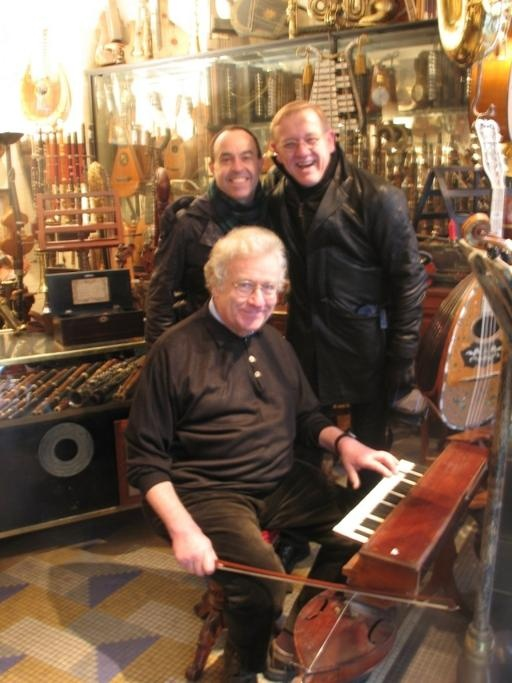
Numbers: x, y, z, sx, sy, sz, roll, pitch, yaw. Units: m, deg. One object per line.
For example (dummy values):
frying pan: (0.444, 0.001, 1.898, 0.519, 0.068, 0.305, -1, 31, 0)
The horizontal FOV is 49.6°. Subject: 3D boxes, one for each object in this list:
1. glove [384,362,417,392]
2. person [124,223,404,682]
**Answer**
glove: (0.524, 0.130, 2.041, 0.110, 0.107, 0.112, 0, -2, 0)
person: (-0.011, 0.121, 1.420, 0.641, 0.828, 0.785, -9, 11, -20)
